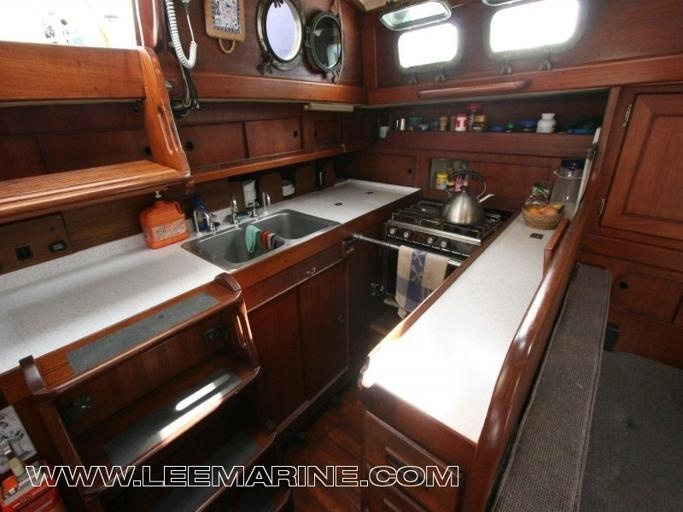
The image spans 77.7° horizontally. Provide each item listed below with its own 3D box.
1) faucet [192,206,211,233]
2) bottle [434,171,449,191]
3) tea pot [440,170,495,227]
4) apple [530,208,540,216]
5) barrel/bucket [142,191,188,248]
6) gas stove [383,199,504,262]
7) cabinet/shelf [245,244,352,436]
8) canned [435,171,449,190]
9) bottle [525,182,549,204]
[{"bbox_3d":[-0.803,-0.206,2.427,0.067,0.125,0.078,-17,44,-25],"label":"faucet"},{"bbox_3d":[0.737,-0.546,3.104,0.096,0.145,0.091,-3,30,2],"label":"bottle"},{"bbox_3d":[0.846,-0.414,2.784,0.302,0.335,0.503,8,26,18],"label":"tea pot"},{"bbox_3d":[1.119,-0.254,2.444,0.038,0.021,0.038,-16,28,0],"label":"apple"},{"bbox_3d":[-0.957,-0.186,2.270,0.104,0.271,0.204,28,40,29],"label":"barrel/bucket"},{"bbox_3d":[0.698,-0.145,2.829,0.619,0.256,0.536,14,24,34],"label":"gas stove"},{"bbox_3d":[-0.259,0.459,2.401,0.341,0.992,0.700,16,37,28],"label":"cabinet/shelf"},{"bbox_3d":[0.739,-0.546,3.098,0.080,0.130,0.085,25,43,37],"label":"canned"},{"bbox_3d":[1.203,-0.376,2.575,0.114,0.107,0.204,14,28,29],"label":"bottle"}]
